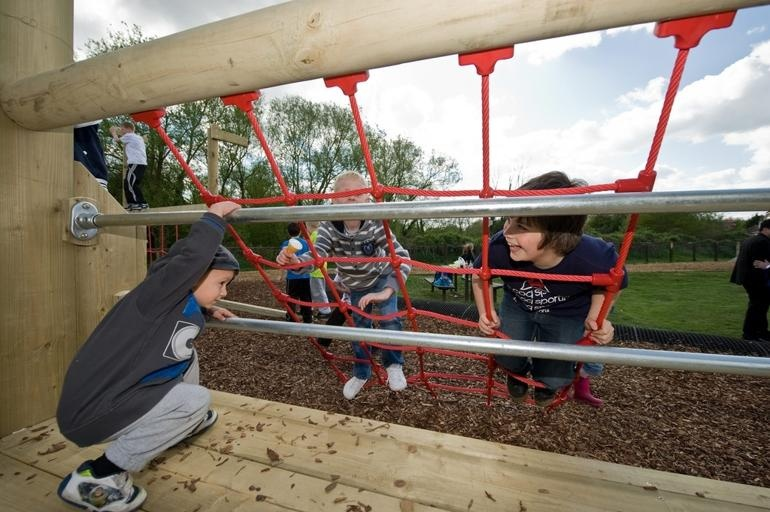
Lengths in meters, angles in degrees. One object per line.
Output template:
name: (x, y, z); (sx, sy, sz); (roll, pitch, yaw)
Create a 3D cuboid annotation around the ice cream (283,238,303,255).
ice cream: (-0.593, -0.061, 3.087); (0.086, 0.109, 0.264); (0, 7, -12)

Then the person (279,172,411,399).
person: (-0.203, 0.312, 3.740); (0.807, 1.966, 1.212); (2, 8, 3)

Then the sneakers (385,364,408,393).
sneakers: (0.096, 0.960, 3.719); (0.129, 0.102, 0.233); (-9, 32, -6)

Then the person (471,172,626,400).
person: (1.011, 0.230, 2.968); (0.923, 1.496, 1.030); (1, 8, -1)

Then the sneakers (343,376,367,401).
sneakers: (-0.252, 1.096, 3.893); (0.113, 0.292, 0.118); (10, 55, 8)

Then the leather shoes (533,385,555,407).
leather shoes: (1.040, 0.911, 3.099); (0.110, 0.073, 0.153); (4, -4, 28)
